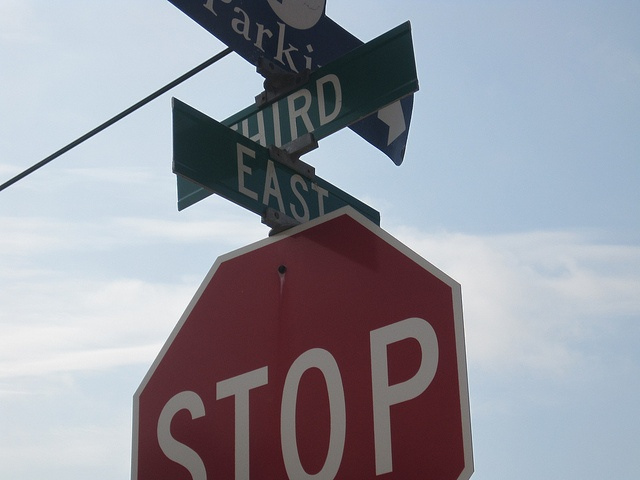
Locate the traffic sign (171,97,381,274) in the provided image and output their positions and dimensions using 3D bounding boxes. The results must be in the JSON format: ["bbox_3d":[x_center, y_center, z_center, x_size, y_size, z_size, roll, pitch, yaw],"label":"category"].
[{"bbox_3d":[-0.137,-0.180,3.537,0.022,0.235,0.611,-32,-46,32],"label":"traffic sign"}]

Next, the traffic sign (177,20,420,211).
[{"bbox_3d":[-0.113,-0.423,3.691,0.742,0.262,0.076,-27,-36,30],"label":"traffic sign"}]
